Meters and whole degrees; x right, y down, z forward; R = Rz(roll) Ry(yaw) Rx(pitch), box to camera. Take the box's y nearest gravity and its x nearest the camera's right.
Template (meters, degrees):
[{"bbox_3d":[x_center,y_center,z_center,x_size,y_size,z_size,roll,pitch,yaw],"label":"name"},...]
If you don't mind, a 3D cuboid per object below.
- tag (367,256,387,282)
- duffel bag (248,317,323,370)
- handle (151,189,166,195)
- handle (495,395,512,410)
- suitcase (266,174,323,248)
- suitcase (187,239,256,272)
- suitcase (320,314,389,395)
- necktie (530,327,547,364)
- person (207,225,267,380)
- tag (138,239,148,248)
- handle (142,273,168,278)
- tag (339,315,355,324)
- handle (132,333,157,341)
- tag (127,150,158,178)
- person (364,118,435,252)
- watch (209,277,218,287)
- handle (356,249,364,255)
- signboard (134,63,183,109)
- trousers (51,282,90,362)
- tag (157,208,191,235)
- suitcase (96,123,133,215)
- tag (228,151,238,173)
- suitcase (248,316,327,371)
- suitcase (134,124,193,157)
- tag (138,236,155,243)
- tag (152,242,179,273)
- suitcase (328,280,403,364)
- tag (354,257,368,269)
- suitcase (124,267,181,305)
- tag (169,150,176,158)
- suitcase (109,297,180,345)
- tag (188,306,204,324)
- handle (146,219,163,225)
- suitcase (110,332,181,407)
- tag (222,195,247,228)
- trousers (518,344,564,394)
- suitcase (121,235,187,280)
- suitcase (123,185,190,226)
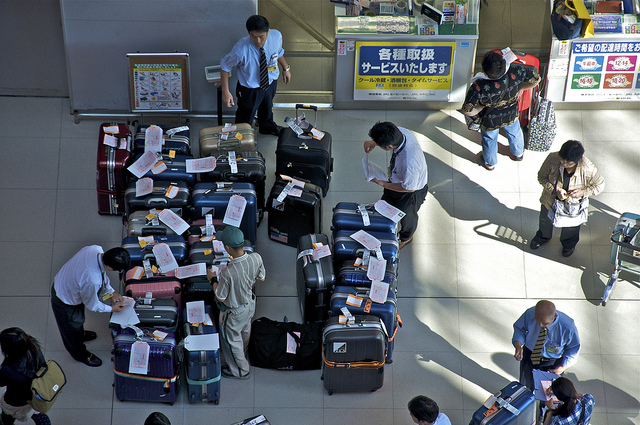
[{"bbox_3d":[0.696,0.687,6.967,0.193,0.263,0.079,7,-11,4],"label":"tag"},{"bbox_3d":[-0.372,1.672,7.171,0.901,0.597,0.490,-1,6,13],"label":"duffel bag"},{"bbox_3d":[-2.067,-0.271,7.414,0.168,0.051,0.051,-3,18,-6],"label":"handle"},{"bbox_3d":[1.944,2.053,6.158,0.134,0.036,0.132,-34,26,-5],"label":"handle"},{"bbox_3d":[-0.347,-0.022,7.945,0.709,0.908,0.564,18,43,11],"label":"suitcase"},{"bbox_3d":[-1.364,0.510,7.068,0.527,0.265,0.323,-4,18,-7],"label":"suitcase"},{"bbox_3d":[0.397,1.649,6.914,0.964,1.202,0.792,0,50,0],"label":"suitcase"},{"bbox_3d":[2.504,1.526,6.565,0.136,0.485,0.026,8,20,26],"label":"necktie"},{"bbox_3d":[-0.954,1.063,6.699,0.657,1.973,0.469,-4,18,-5],"label":"person"},{"bbox_3d":[-2.154,0.375,7.023,0.090,0.016,0.101,-15,59,-13],"label":"tag"},{"bbox_3d":[-1.978,0.744,6.872,0.226,0.051,0.033,2,1,-2],"label":"handle"},{"bbox_3d":[0.320,1.230,6.621,0.108,0.090,0.162,4,-7,17],"label":"tag"},{"bbox_3d":[-1.969,1.409,6.494,0.268,0.067,0.081,-3,18,-6],"label":"handle"},{"bbox_3d":[-2.345,-0.676,7.629,0.271,0.086,0.353,36,72,19],"label":"tag"},{"bbox_3d":[1.057,-0.291,7.688,0.766,1.689,0.803,-9,64,1],"label":"person"},{"bbox_3d":[-1.234,0.806,6.701,0.069,0.096,0.094,4,-6,-3],"label":"watch"},{"bbox_3d":[0.496,0.472,7.028,0.150,0.052,0.100,0,-4,1],"label":"handle"},{"bbox_3d":[-2.461,-1.965,8.709,0.649,0.620,0.216,1,33,-4],"label":"signboard"},{"bbox_3d":[-2.909,1.285,6.717,0.286,0.950,0.408,-22,65,-23],"label":"trousers"},{"bbox_3d":[-1.840,0.102,7.246,0.389,0.092,0.227,38,54,14],"label":"tag"},{"bbox_3d":[-2.808,-0.581,7.891,0.425,0.737,1.100,1,49,-5],"label":"suitcase"},{"bbox_3d":[-1.159,-0.689,7.698,0.093,0.024,0.335,-2,52,-9],"label":"tag"},{"bbox_3d":[-0.366,1.632,7.164,0.935,0.556,0.529,-1,18,14],"label":"suitcase"},{"bbox_3d":[-2.128,-1.082,7.762,0.685,0.478,0.496,2,-15,-10],"label":"suitcase"},{"bbox_3d":[-2.116,0.321,7.060,0.104,0.028,0.104,0,44,-17],"label":"tag"},{"bbox_3d":[-1.865,0.538,6.920,0.247,0.329,0.093,-24,-9,-7],"label":"tag"},{"bbox_3d":[0.599,1.493,6.992,0.635,0.797,0.324,-6,32,2],"label":"suitcase"},{"bbox_3d":[0.511,0.615,7.031,0.128,0.126,0.034,16,-5,1],"label":"tag"},{"bbox_3d":[-1.950,0.882,7.024,0.731,0.405,0.702,-2,-6,31],"label":"suitcase"},{"bbox_3d":[-2.005,-0.808,7.822,0.115,0.019,0.131,6,50,-4],"label":"tag"},{"bbox_3d":[-1.999,1.328,6.963,0.831,0.765,0.457,0,42,-1],"label":"suitcase"},{"bbox_3d":[-1.445,1.200,6.713,0.160,0.069,0.214,-7,59,-10],"label":"tag"},{"bbox_3d":[-2.079,0.108,7.243,0.206,0.072,0.136,2,4,-34],"label":"handle"},{"bbox_3d":[-1.966,1.775,6.537,0.902,1.089,0.387,2,48,-7],"label":"suitcase"},{"bbox_3d":[-1.078,-0.032,7.298,0.254,0.364,0.086,17,-6,6],"label":"tag"},{"bbox_3d":[2.516,1.753,6.484,0.262,0.235,0.796,30,24,23],"label":"trousers"},{"bbox_3d":[-1.977,0.625,7.406,0.916,0.867,0.488,0,64,-3],"label":"suitcase"},{"bbox_3d":[-2.067,-0.092,7.367,0.601,0.590,0.228,2,58,-4],"label":"suitcase"}]
